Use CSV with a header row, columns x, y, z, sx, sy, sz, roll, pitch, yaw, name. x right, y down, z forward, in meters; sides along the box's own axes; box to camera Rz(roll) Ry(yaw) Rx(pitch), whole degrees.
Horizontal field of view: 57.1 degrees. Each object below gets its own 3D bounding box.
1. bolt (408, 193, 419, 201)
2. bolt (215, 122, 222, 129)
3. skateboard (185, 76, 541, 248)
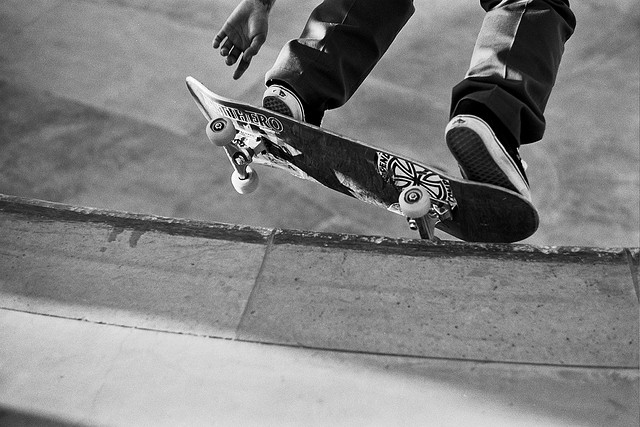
x,y,z,sx,sy,sz,roll,pitch,yaw,name
0.390,-0.069,2.448,0.032,0.010,0.031,-11,57,5,bolt
-0.475,-0.410,2.743,0.029,0.016,0.036,5,45,-21,bolt
0.211,-0.219,2.805,1.491,0.350,0.254,25,58,22,skateboard
